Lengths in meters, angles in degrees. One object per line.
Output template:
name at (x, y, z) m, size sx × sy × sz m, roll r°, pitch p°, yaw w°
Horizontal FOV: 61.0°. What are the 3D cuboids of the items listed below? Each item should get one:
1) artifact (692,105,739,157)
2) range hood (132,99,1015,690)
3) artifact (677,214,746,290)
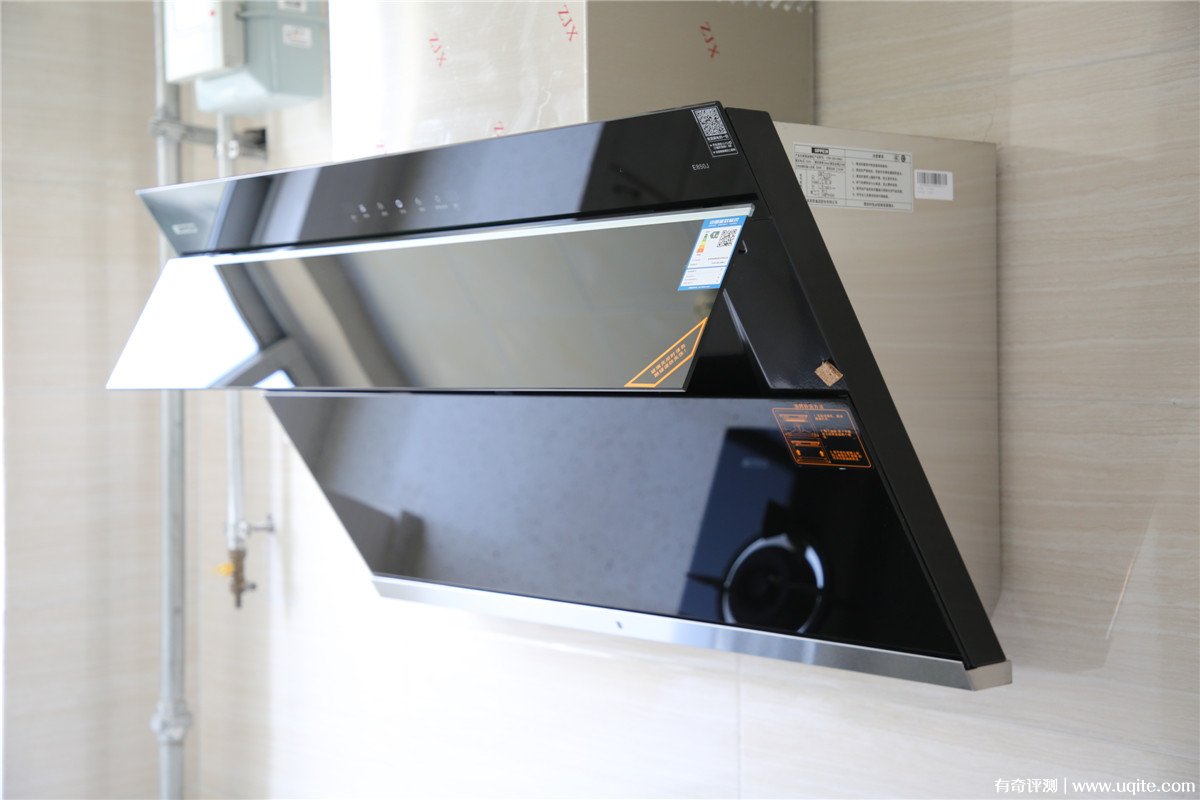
artifact at (0.168, -0.393, 1.491) m, size 0.064 × 0.072 × 0.016 m, roll 0°, pitch 8°, yaw 3°
range hood at (-0.007, -0.014, 1.827) m, size 1.767 × 0.766 × 0.928 m, roll -1°, pitch -1°, yaw 43°
artifact at (0.167, -0.219, 1.524) m, size 0.087 × 0.111 × 0.034 m, roll 3°, pitch 9°, yaw 23°
